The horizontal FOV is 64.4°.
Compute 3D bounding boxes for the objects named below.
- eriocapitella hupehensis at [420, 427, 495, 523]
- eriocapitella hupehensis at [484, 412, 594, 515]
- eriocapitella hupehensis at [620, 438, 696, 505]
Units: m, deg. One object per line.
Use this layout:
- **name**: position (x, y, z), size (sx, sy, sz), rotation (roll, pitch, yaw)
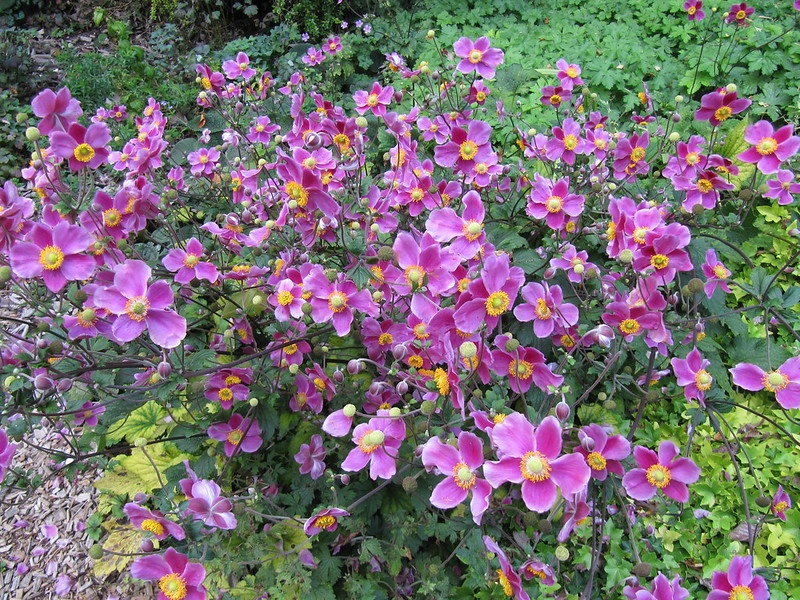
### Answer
- **eriocapitella hupehensis**: position (0.276, 0.820, 3.037), size (0.160, 0.439, 0.405), rotation (5, 23, -38)
- **eriocapitella hupehensis**: position (0.640, 0.736, 2.938), size (0.413, 0.167, 0.419), rotation (13, 41, 33)
- **eriocapitella hupehensis**: position (1.361, 0.900, 3.311), size (0.328, 0.357, 0.147), rotation (25, 23, 8)
